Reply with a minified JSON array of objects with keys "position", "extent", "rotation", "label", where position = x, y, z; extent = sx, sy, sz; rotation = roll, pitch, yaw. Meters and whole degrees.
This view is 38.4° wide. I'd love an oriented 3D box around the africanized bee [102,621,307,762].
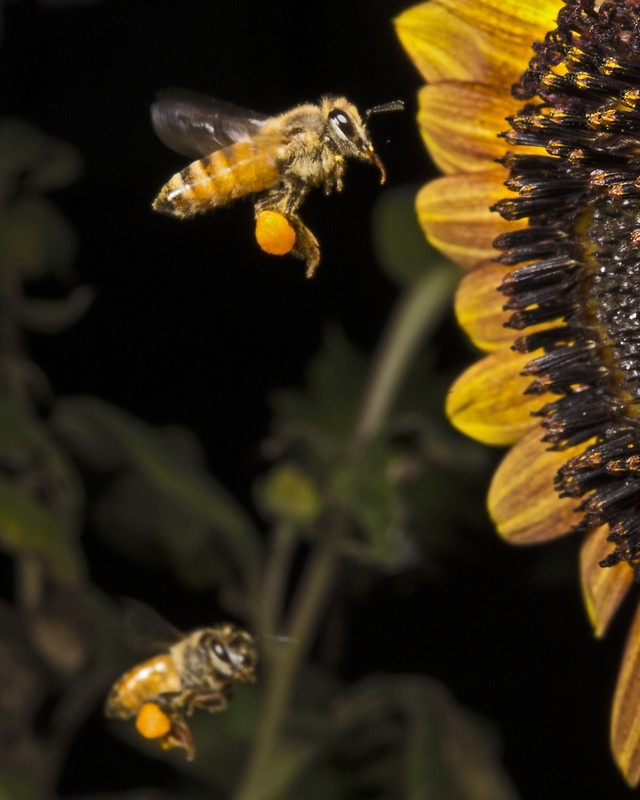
[{"position":[-0.099,0.239,0.772],"extent":[0.144,0.100,0.042],"rotation":[-27,38,23],"label":"africanized bee"}]
